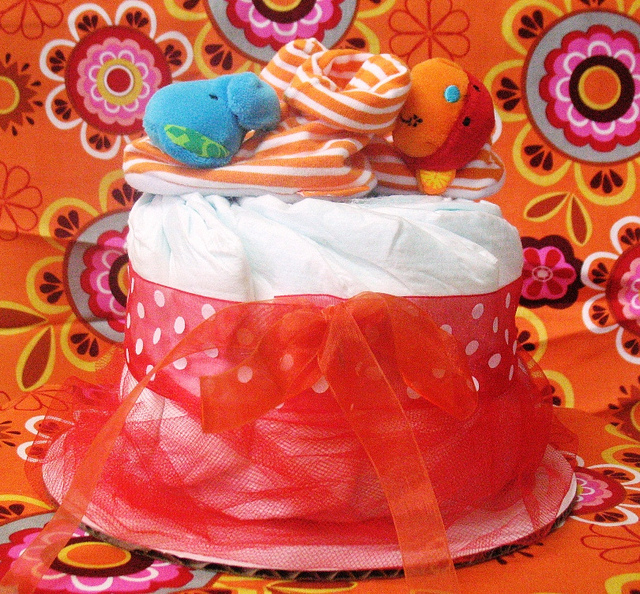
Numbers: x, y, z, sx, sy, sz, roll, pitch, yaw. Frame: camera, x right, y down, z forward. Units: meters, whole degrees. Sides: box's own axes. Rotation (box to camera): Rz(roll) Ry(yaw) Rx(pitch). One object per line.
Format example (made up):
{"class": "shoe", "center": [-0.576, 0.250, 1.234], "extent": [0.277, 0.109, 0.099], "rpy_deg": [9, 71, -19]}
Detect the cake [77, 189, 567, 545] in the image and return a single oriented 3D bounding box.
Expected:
{"class": "cake", "center": [0.016, 0.125, 1.239], "extent": [0.693, 0.277, 0.573], "rpy_deg": [-4, -1, 5]}

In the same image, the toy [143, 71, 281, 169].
{"class": "toy", "center": [-0.137, -0.224, 1.097], "extent": [0.173, 0.096, 0.112], "rpy_deg": [-1, 42, -2]}

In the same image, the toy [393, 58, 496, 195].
{"class": "toy", "center": [0.168, -0.236, 1.194], "extent": [0.125, 0.168, 0.112], "rpy_deg": [-31, 53, -28]}
